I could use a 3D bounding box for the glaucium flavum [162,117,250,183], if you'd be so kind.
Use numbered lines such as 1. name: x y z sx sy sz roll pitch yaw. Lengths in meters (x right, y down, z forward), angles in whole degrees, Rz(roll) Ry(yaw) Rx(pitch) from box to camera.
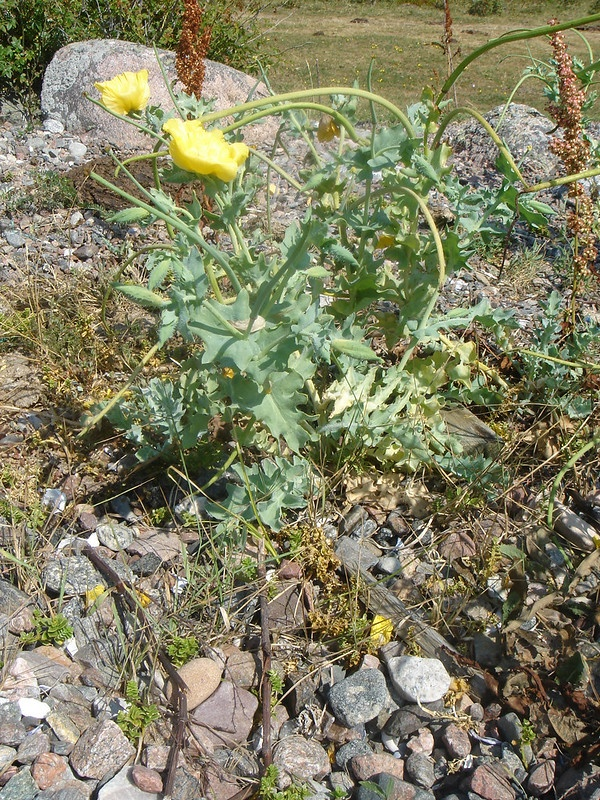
1. glaucium flavum: -0.171 -0.467 1.315 0.141 0.123 0.139 -3 36 -2

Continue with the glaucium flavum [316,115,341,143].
1. glaucium flavum: 0.073 -0.720 1.866 0.067 0.062 0.022 5 4 -4
